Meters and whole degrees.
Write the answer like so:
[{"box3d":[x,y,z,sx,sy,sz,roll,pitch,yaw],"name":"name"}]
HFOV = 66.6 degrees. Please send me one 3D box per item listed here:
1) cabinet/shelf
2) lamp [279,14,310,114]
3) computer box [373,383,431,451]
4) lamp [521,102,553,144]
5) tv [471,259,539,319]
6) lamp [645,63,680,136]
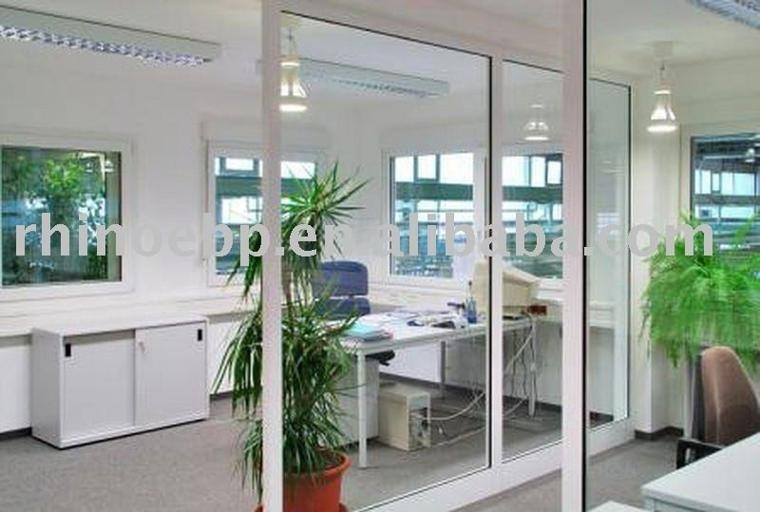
[{"box3d":[-0.972,0.514,2.417,0.660,0.455,0.283,-8,-11,6],"name":"cabinet/shelf"},{"box3d":[-0.380,-0.822,2.495,0.112,0.410,0.028,-1,2,-10],"name":"lamp"},{"box3d":[0.099,0.801,2.920,0.172,0.268,0.291,-5,-1,-32],"name":"computer box"},{"box3d":[0.870,-0.718,3.178,0.188,0.159,0.192,4,2,23],"name":"lamp"},{"box3d":[0.674,0.167,3.163,0.297,0.287,0.163,1,12,-7],"name":"tv"},{"box3d":[1.124,-0.640,2.318,0.109,0.229,0.110,6,16,37],"name":"lamp"}]
